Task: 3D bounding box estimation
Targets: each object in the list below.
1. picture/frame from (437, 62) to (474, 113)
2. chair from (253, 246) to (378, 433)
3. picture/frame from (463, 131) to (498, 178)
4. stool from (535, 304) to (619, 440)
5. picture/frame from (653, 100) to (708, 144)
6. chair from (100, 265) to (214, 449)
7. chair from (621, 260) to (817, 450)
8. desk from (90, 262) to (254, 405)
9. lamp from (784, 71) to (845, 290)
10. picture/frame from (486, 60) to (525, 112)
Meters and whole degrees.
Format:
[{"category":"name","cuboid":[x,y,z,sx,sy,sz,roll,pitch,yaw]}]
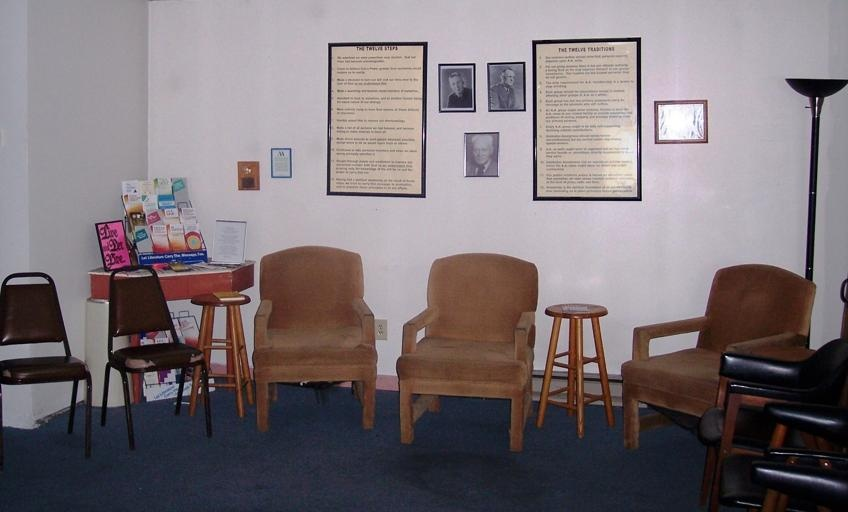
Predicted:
[{"category":"picture/frame","cuboid":[0.309,-1.611,6.368,0.469,0.555,0.043,0,2,5]},{"category":"chair","cuboid":[-1.001,0.693,5.990,1.009,1.477,1.013,-2,8,-13]},{"category":"picture/frame","cuboid":[0.543,-0.961,6.362,0.430,0.519,0.052,0,-1,9]},{"category":"stool","cuboid":[1.365,0.947,5.952,0.655,1.026,0.813,2,8,17]},{"category":"picture/frame","cuboid":[2.369,-1.228,6.147,0.396,0.339,0.027,-1,5,4]},{"category":"chair","cuboid":[-2.332,0.803,5.787,0.880,1.400,0.966,-4,8,-27]},{"category":"chair","cuboid":[2.489,0.749,5.737,1.713,1.907,1.320,1,1,-36]},{"category":"desk","cuboid":[-2.372,0.810,6.618,1.749,1.572,1.120,-1,-1,-9]},{"category":"lamp","cuboid":[3.370,-0.666,5.885,0.445,1.730,0.585,4,9,29]},{"category":"picture/frame","cuboid":[0.777,-1.604,6.311,0.475,0.560,0.025,0,4,9]}]
